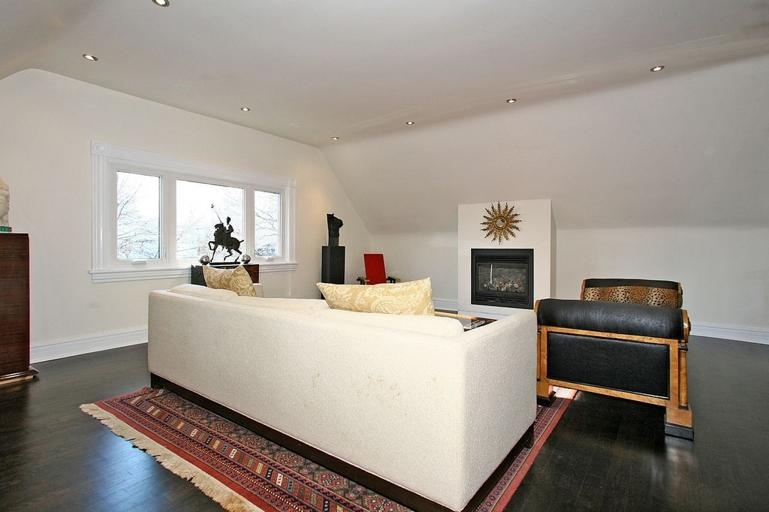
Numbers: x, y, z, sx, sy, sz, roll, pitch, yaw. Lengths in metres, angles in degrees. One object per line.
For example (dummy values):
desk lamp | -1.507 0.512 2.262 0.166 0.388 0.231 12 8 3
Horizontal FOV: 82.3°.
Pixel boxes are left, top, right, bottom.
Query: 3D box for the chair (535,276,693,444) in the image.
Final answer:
chair | 2.027 0.813 3.967 1.156 0.706 1.863 -1 -2 37
